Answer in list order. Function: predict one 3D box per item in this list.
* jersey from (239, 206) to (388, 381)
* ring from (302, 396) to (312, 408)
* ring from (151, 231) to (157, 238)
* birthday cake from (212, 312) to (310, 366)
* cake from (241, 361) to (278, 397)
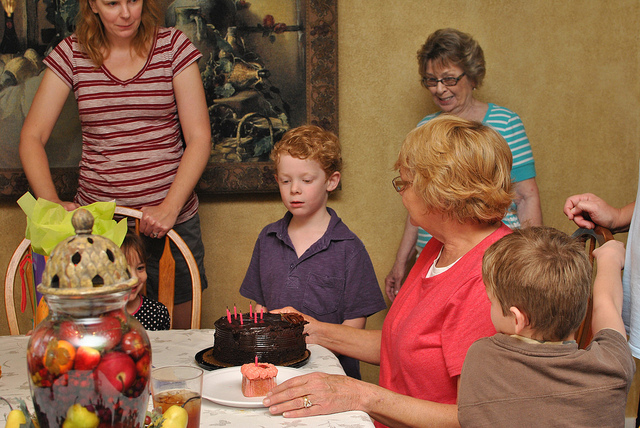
[{"bbox_3d":[-0.072,0.391,2.783,0.628,0.786,0.289,8,14,24],"label":"jersey"},{"bbox_3d":[-0.035,0.508,1.771,0.009,0.025,0.021,-33,4,-17],"label":"ring"},{"bbox_3d":[-0.667,0.085,2.641,0.006,0.018,0.013,-40,-5,18],"label":"ring"},{"bbox_3d":[-0.198,0.390,2.155,0.313,0.129,0.368,2,4,37],"label":"birthday cake"},{"bbox_3d":[-0.155,0.480,1.878,0.109,0.070,0.112,-12,-11,38],"label":"cake"}]
